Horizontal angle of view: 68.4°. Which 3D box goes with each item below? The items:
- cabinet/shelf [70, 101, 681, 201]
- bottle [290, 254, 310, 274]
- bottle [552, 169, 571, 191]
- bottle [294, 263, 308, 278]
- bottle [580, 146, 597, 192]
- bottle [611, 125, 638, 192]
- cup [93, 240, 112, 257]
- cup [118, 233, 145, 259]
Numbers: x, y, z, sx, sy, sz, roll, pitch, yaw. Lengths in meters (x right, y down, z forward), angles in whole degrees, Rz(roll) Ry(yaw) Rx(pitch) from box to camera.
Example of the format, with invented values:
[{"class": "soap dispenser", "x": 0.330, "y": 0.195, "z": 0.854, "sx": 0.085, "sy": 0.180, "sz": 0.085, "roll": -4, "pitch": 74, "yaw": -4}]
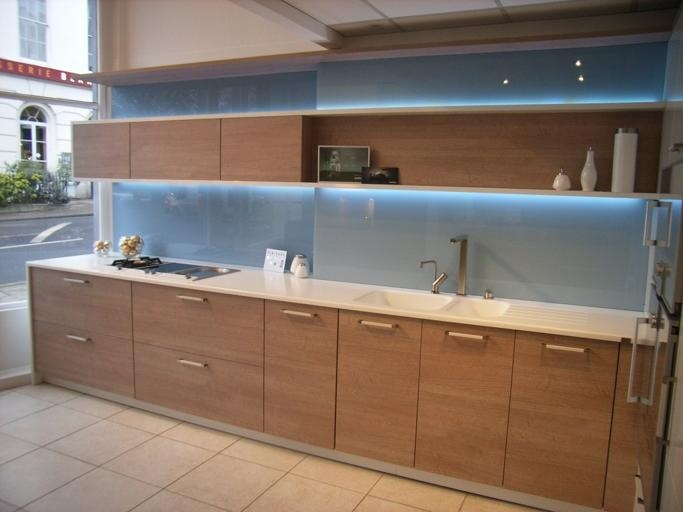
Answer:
[{"class": "cabinet/shelf", "x": -0.071, "y": -0.773, "z": 3.678, "sx": 4.200, "sy": 0.597, "sz": 0.366, "roll": 2, "pitch": 10, "yaw": 15}, {"class": "bottle", "x": -0.329, "y": 0.067, "z": 3.982, "sx": 0.143, "sy": 0.132, "sz": 0.146, "roll": 3, "pitch": 6, "yaw": 23}, {"class": "bottle", "x": 1.379, "y": -0.472, "z": 3.133, "sx": 0.113, "sy": 0.135, "sz": 0.205, "roll": 3, "pitch": 10, "yaw": 21}, {"class": "bottle", "x": -0.311, "y": 0.116, "z": 3.879, "sx": 0.109, "sy": 0.083, "sz": 0.103, "roll": 1, "pitch": -5, "yaw": 0}, {"class": "bottle", "x": 1.524, "y": -0.537, "z": 3.078, "sx": 0.100, "sy": 0.278, "sz": 0.237, "roll": 4, "pitch": 11, "yaw": 24}, {"class": "bottle", "x": 1.741, "y": -0.583, "z": 3.050, "sx": 0.160, "sy": 0.376, "sz": 0.157, "roll": -2, "pitch": 14, "yaw": 1}, {"class": "cup", "x": -2.190, "y": -0.069, "z": 4.612, "sx": 0.172, "sy": 0.119, "sz": 0.150, "roll": 1, "pitch": 1, "yaw": -25}, {"class": "cup", "x": -1.859, "y": -0.086, "z": 4.469, "sx": 0.223, "sy": 0.195, "sz": 0.210, "roll": 2, "pitch": 7, "yaw": 0}]
